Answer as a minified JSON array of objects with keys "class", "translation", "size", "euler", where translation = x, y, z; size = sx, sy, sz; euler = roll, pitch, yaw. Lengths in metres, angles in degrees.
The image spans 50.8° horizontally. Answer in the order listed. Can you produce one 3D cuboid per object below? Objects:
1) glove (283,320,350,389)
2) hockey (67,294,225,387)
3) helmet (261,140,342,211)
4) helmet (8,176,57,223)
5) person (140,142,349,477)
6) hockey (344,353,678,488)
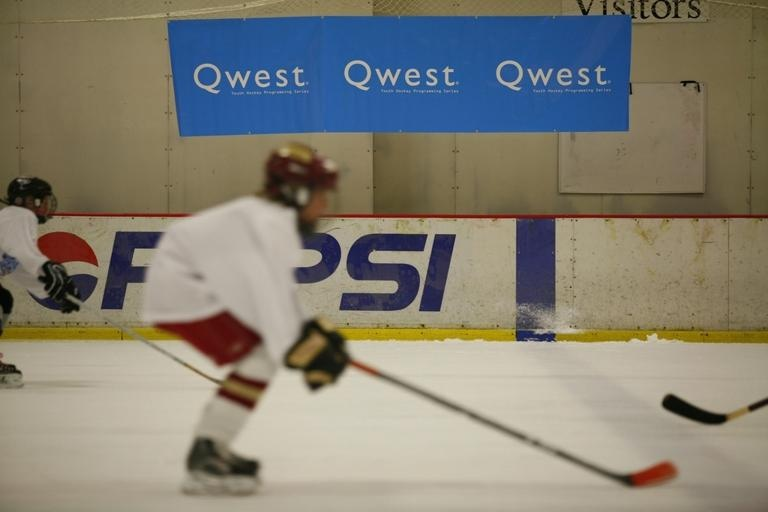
[{"class":"glove","translation":[-0.445,0.649,5.273],"size":[0.424,0.463,0.133],"euler":[3,6,-5]},{"class":"hockey","translation":[-2.073,0.747,6.968],"size":[1.460,0.072,0.124],"euler":[32,35,-7]},{"class":"helmet","translation":[-0.546,-0.535,5.388],"size":[0.496,0.379,0.348],"euler":[3,25,-1]},{"class":"helmet","translation":[-3.103,-0.515,7.231],"size":[0.496,0.435,0.371],"euler":[-10,18,-36]},{"class":"person","translation":[-0.910,0.436,5.412],"size":[1.336,2.390,0.376],"euler":[4,6,12]},{"class":"hockey","translation":[0.984,1.321,6.319],"size":[1.998,0.234,0.242],"euler":[20,35,8]}]
